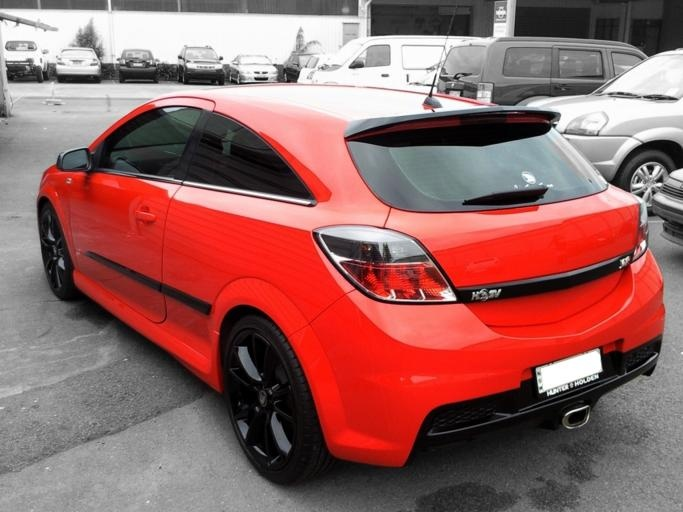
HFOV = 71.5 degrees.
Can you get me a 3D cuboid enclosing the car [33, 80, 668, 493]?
[{"bbox_3d":[-0.360,0.028,3.067,2.072,1.304,3.472,-11,21,-36],"label":"car"}]
